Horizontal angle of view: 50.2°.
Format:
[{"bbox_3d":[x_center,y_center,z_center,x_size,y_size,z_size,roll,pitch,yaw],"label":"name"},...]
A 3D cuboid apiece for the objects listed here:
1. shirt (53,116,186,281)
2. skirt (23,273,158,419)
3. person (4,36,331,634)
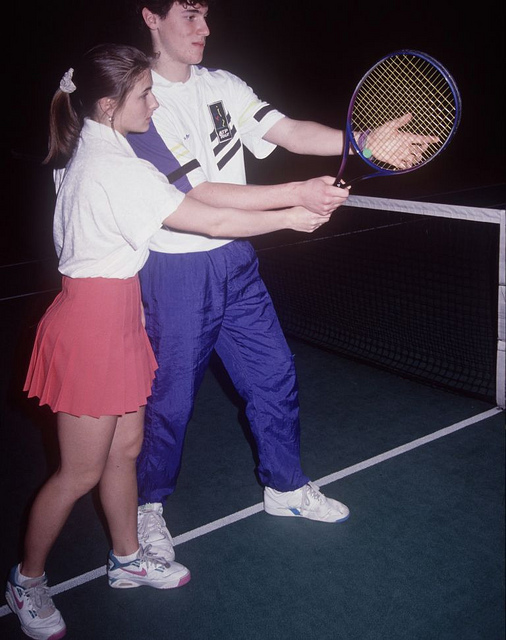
[{"bbox_3d":[-0.307,-0.295,1.230,0.204,0.323,0.344,-12,44,-38],"label":"shirt"},{"bbox_3d":[-0.411,0.018,1.344,0.245,0.326,0.335,5,24,-8],"label":"skirt"},{"bbox_3d":[-0.373,0.111,1.476,0.773,1.531,0.544,-13,21,-28],"label":"person"}]
